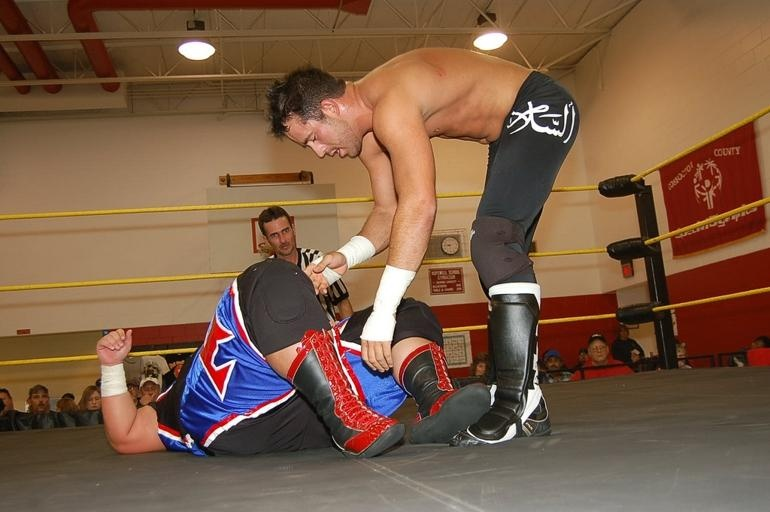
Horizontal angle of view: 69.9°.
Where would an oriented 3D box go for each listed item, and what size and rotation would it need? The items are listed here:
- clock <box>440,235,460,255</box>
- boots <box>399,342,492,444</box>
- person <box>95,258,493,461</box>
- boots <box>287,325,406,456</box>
[{"bbox_3d":[1.090,-0.158,9.063,0.302,0.304,0.079,7,-4,-7],"label":"clock"},{"bbox_3d":[0.204,0.489,1.959,0.295,0.339,0.331,-4,-4,0],"label":"boots"},{"bbox_3d":[-0.450,0.342,2.178,0.786,0.516,1.199,5,-14,-44],"label":"person"},{"bbox_3d":[-0.125,0.468,1.904,0.188,0.386,0.525,-18,10,-22],"label":"boots"}]
